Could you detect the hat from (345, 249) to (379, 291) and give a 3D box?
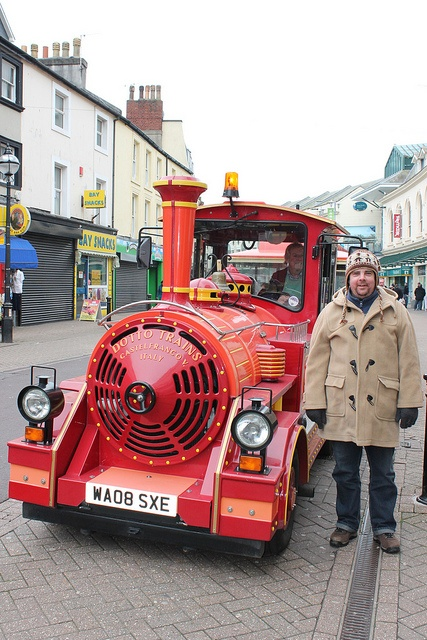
[{"bbox_3d":[0.925,-0.337,3.678,0.219,0.242,0.258,7,21,29],"label":"hat"}]

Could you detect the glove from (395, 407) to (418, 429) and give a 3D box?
[{"bbox_3d":[1.123,0.560,3.422,0.101,0.132,0.050,2,-5,9],"label":"glove"}]

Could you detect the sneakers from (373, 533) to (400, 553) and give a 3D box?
[{"bbox_3d":[1.037,1.328,3.533,0.064,0.073,0.184,-4,-7,-11],"label":"sneakers"}]

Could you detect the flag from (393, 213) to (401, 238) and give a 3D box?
[{"bbox_3d":[13.976,-6.925,44.780,0.650,1.700,0.642,3,3,17],"label":"flag"}]

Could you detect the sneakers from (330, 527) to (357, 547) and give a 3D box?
[{"bbox_3d":[0.791,1.310,3.574,0.072,0.083,0.200,-5,-10,33],"label":"sneakers"}]

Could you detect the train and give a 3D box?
[{"bbox_3d":[-0.067,0.002,4.529,1.949,2.045,3.053,4,10,19],"label":"train"}]

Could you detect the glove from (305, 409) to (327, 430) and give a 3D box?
[{"bbox_3d":[0.624,0.592,3.584,0.096,0.128,0.046,-22,4,44],"label":"glove"}]
